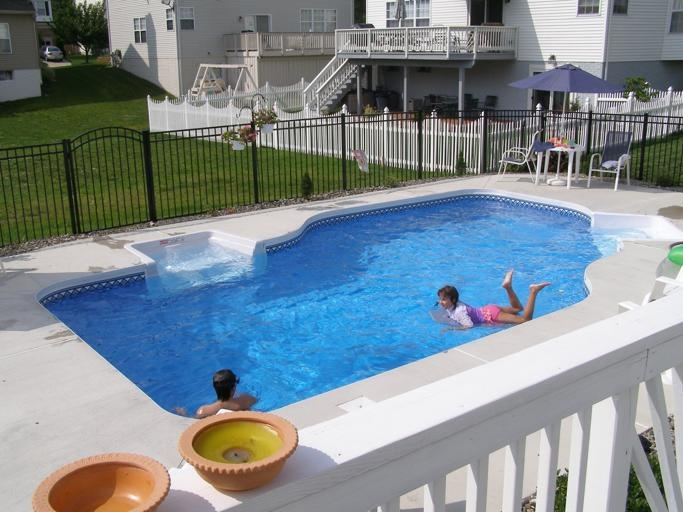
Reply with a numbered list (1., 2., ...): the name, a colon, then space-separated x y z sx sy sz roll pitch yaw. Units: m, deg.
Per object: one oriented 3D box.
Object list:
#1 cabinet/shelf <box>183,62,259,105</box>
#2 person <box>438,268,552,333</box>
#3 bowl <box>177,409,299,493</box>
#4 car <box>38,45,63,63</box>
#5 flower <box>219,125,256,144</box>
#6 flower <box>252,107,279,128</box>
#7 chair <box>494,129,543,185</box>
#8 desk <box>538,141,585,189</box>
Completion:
1. cabinet/shelf: -7.734 -11.188 34.444 4.024 2.677 2.612 -5 25 -20
2. person: 2.415 0.722 8.641 1.512 0.577 1.000 -3 12 2
3. bowl: -0.295 0.566 1.509 0.317 0.118 0.334 3 10 0
4. car: -27.119 -18.798 48.761 1.238 0.895 2.763 -20 40 -32
5. flower: -2.473 -3.051 13.223 0.769 0.455 0.873 0 4 29
6. flower: -1.934 -3.558 13.475 0.609 0.352 0.610 17 29 31
7. chair: 5.444 -3.094 16.271 1.188 1.307 1.033 1 9 6
8. desk: 6.769 -2.942 16.237 1.208 1.186 2.894 8 20 23
